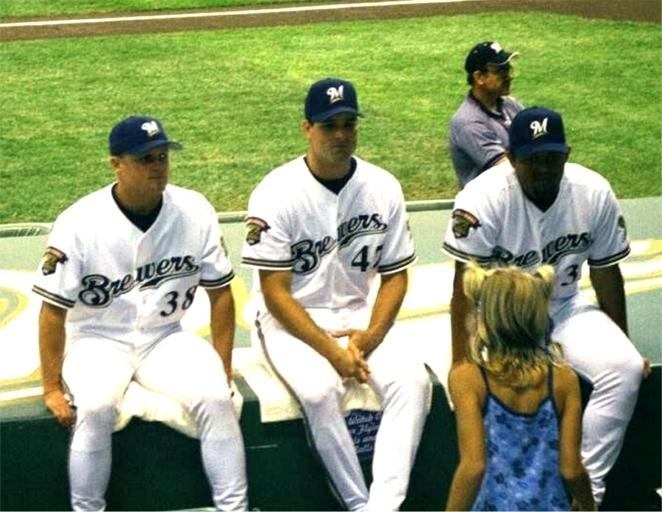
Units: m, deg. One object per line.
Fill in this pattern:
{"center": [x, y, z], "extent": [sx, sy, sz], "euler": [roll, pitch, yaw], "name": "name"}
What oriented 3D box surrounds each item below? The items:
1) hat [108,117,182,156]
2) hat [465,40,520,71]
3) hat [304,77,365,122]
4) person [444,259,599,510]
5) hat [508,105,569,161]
{"center": [-1.118, -0.702, 7.058], "extent": [0.348, 0.182, 0.248], "euler": [-15, 1, 23], "name": "hat"}
{"center": [1.074, -1.321, 8.082], "extent": [0.336, 0.181, 0.210], "euler": [-14, 17, 23], "name": "hat"}
{"center": [-0.018, -0.960, 7.296], "extent": [0.249, 0.179, 0.328], "euler": [-4, 13, -13], "name": "hat"}
{"center": [1.035, 0.752, 6.501], "extent": [0.808, 1.344, 0.548], "euler": [-2, 14, 7], "name": "person"}
{"center": [1.243, -0.752, 7.147], "extent": [0.273, 0.184, 0.343], "euler": [-2, 17, 2], "name": "hat"}
